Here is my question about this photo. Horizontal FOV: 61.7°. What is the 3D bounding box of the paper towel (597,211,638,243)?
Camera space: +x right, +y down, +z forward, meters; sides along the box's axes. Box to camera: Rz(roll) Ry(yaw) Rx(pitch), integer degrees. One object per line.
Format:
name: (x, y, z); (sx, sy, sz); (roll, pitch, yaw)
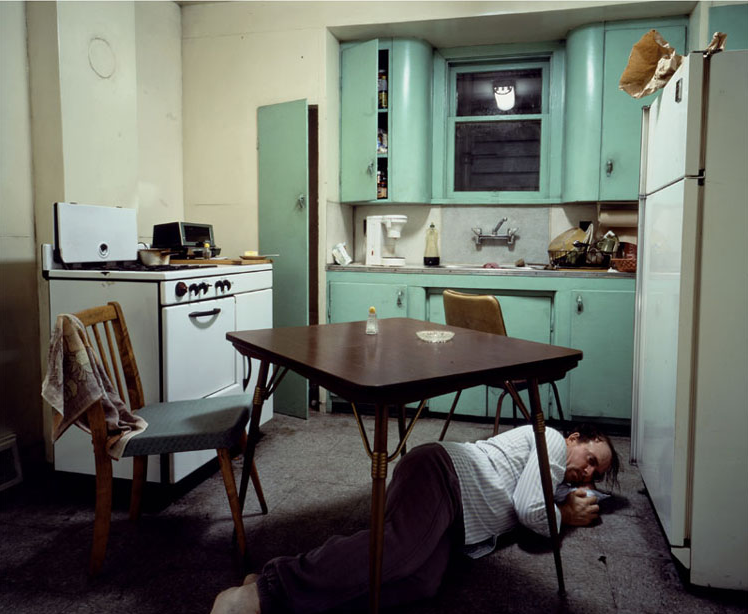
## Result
paper towel: (1.604, -0.550, 4.111); (0.272, 0.276, 0.197); (2, 5, 31)

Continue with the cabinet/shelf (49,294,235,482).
cabinet/shelf: (-1.089, 0.307, 3.314); (0.692, 0.973, 1.021); (-1, 2, 13)

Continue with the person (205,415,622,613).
person: (0.255, 0.602, 2.505); (1.757, 0.596, 0.615); (-8, 14, -28)

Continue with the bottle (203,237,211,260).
bottle: (-0.980, -0.353, 3.666); (0.051, 0.098, 0.138); (-3, 12, -14)

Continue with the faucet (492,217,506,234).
faucet: (0.875, -0.588, 4.420); (0.107, 0.124, 0.117); (5, 13, 22)

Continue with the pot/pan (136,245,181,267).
pot/pan: (-1.166, -0.275, 3.314); (0.159, 0.064, 0.102); (0, 1, -37)

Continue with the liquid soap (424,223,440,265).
liquid soap: (0.414, -0.468, 4.494); (0.129, 0.290, 0.223); (1, 12, 5)

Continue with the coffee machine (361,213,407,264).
coffee machine: (0.069, -0.501, 4.495); (0.381, 0.493, 0.301); (0, 3, 8)

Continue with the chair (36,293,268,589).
chair: (-0.849, 0.468, 2.573); (0.868, 0.978, 0.750); (-4, 5, -29)

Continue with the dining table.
dining table: (0.093, 0.185, 2.288); (0.967, 0.931, 1.217); (-3, 5, -35)

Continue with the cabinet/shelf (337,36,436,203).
cabinet/shelf: (0.074, -1.264, 4.225); (0.622, 1.058, 0.357); (1, 12, 1)

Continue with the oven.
oven: (-0.861, 0.308, 3.205); (0.317, 0.566, 0.573); (-15, 18, -8)

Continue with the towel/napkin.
towel/napkin: (-1.074, 0.247, 2.345); (0.396, 0.492, 0.309); (-1, 8, 31)

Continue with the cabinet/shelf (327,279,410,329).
cabinet/shelf: (-0.066, -0.057, 4.084); (0.435, 0.294, 0.285); (-1, -2, 17)
